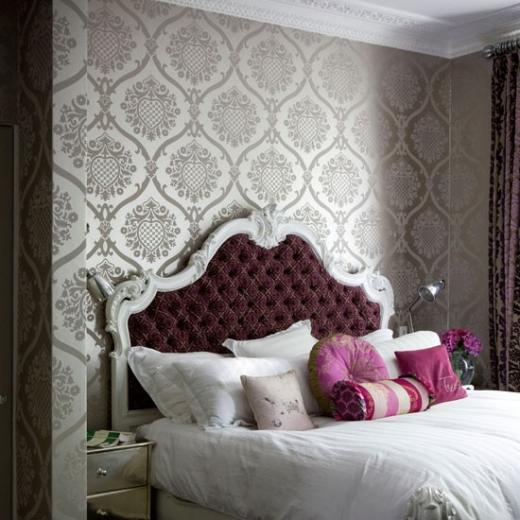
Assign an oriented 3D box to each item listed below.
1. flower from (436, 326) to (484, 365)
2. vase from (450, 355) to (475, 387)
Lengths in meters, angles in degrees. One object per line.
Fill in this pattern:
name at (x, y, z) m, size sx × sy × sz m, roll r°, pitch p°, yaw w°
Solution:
flower at (1.441, 0.578, 3.693) m, size 0.205 × 0.273 × 0.228 m, roll -7°, pitch 15°, yaw -20°
vase at (1.441, 0.776, 3.666) m, size 0.166 × 0.267 × 0.191 m, roll 2°, pitch -5°, yaw -19°
